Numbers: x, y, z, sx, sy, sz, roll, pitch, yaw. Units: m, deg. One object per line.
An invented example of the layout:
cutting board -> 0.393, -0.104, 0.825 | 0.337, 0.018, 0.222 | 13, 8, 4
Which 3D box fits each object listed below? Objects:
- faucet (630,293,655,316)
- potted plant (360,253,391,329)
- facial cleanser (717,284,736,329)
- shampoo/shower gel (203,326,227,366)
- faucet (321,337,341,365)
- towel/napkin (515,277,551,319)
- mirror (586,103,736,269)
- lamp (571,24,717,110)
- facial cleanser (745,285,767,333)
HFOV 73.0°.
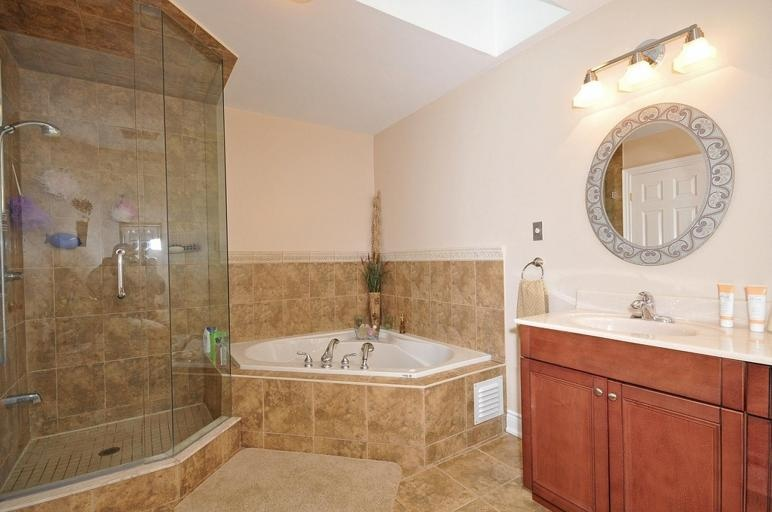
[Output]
faucet -> 1.715, 0.316, 3.485 | 0.160, 0.157, 0.142 | 0, -1, 26
potted plant -> -0.113, 0.356, 5.593 | 0.199, 0.776, 0.279 | -2, 2, -32
facial cleanser -> 2.102, 0.306, 3.228 | 0.077, 0.266, 0.117 | 1, 2, 36
shampoo/shower gel -> -1.298, 0.687, 3.994 | 0.086, 0.311, 0.219 | 0, 2, 25
faucet -> -0.471, 0.799, 4.429 | 0.103, 0.101, 0.342 | 4, 14, 5
towel/napkin -> 1.139, 0.334, 4.070 | 0.244, 0.329, 0.131 | 3, -28, 9
mirror -> 1.883, -0.472, 3.502 | 0.052, 1.380, 1.134 | 2, -3, -38
lamp -> 1.723, -1.259, 3.532 | 0.849, 0.307, 0.214 | -14, -11, 38
facial cleanser -> 2.239, 0.314, 3.124 | 0.179, 0.267, 0.082 | -2, 2, -29
